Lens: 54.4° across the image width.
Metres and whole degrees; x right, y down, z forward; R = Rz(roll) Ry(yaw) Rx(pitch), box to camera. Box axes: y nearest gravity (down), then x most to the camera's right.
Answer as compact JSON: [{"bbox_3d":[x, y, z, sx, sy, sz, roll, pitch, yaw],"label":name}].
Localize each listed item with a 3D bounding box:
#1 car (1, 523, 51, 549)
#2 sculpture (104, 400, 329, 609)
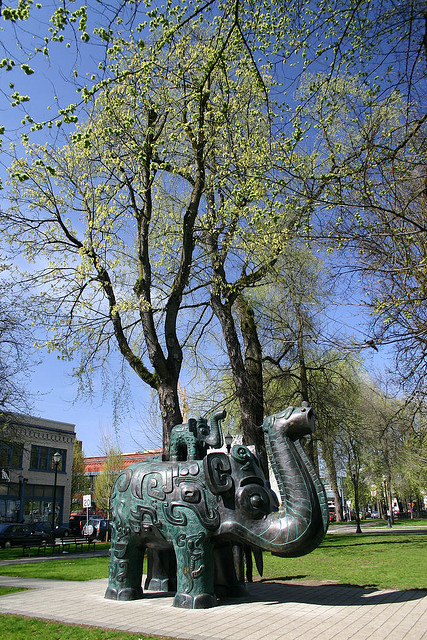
[{"bbox_3d":[-11.658,13.360,25.797,2.995,1.030,1.288,11,-23,-37],"label":"car"},{"bbox_3d":[-0.051,2.613,6.055,3.235,2.648,1.365,-10,-20,23],"label":"sculpture"}]
